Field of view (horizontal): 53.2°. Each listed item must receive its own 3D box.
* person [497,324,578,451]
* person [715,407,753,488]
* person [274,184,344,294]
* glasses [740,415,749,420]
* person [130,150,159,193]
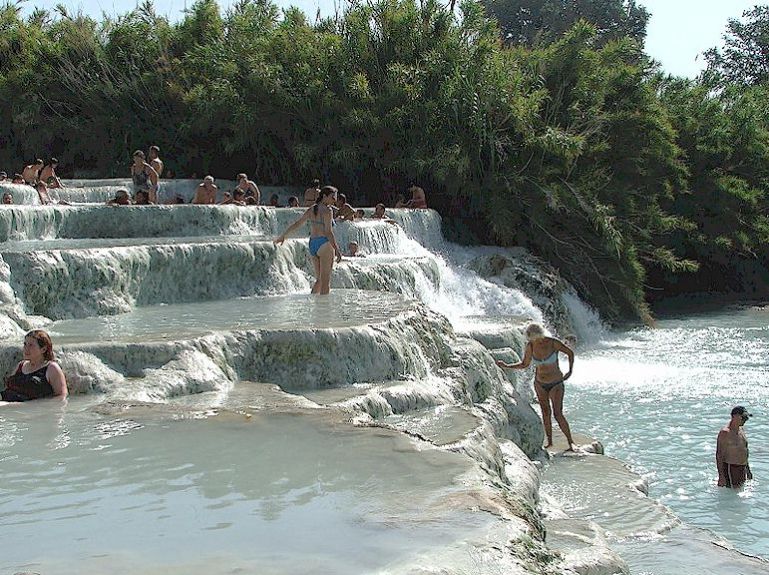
[{"bbox_3d":[1.961,1.200,9.367,0.862,1.623,1.196,6,13,27],"label":"person"},{"bbox_3d":[3.888,1.743,8.469,0.370,0.833,0.570,9,15,36],"label":"person"},{"bbox_3d":[-1.102,-0.830,11.639,0.824,1.645,2.621,-1,13,-7],"label":"person"},{"bbox_3d":[3.931,1.425,8.382,0.096,0.034,0.075,-3,-27,-41],"label":"glasses"},{"bbox_3d":[-4.526,-2.202,14.492,0.454,0.771,0.793,-3,13,-17],"label":"person"}]
